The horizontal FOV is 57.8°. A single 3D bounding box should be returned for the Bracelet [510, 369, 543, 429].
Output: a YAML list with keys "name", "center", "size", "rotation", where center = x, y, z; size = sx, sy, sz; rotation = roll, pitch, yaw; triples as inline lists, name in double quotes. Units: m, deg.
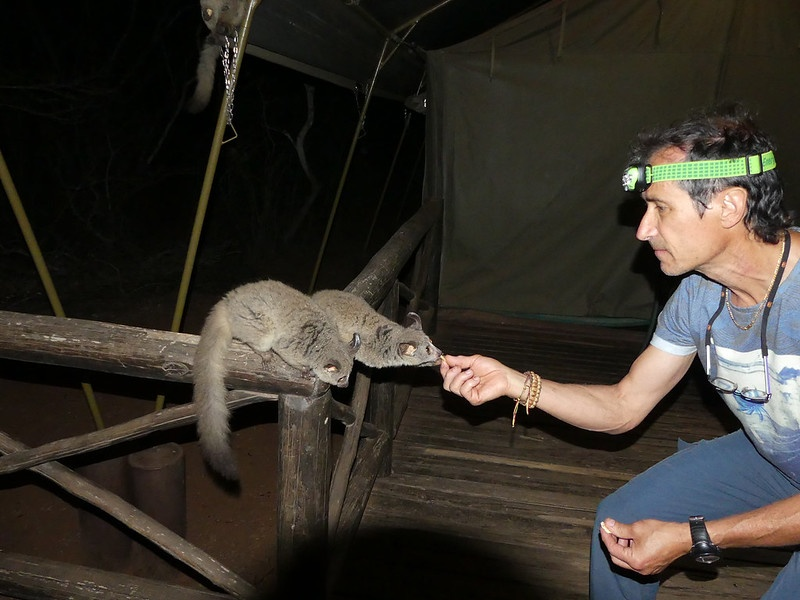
- name: "Bracelet"
  center: [1.008, 0.877, 5.837]
  size: [0.267, 0.248, 0.111]
  rotation: [-11, 35, 13]

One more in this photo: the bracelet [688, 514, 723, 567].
- name: "bracelet"
  center: [2.155, 1.696, 5.188]
  size: [0.205, 0.337, 0.337]
  rotation: [-15, 43, 22]

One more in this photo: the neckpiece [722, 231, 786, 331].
- name: "neckpiece"
  center: [2.580, -0.109, 5.230]
  size: [0.119, 0.613, 0.390]
  rotation: [4, 11, -25]
